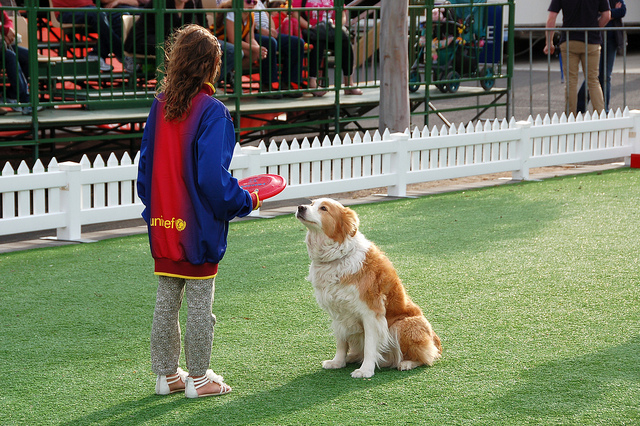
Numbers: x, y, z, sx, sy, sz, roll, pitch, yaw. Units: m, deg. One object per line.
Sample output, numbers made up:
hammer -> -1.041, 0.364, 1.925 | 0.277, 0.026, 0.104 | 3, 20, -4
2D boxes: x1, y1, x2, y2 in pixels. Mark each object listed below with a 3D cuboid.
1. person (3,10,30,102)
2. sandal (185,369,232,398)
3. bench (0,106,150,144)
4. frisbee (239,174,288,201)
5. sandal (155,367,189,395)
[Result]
person -> -3.990, -2.031, 15.204 | 0.307, 1.120, 0.790 | -7, 9, -13
sandal -> -1.029, 1.544, 10.464 | 0.484, 0.228, 0.186 | -5, 8, -31
bench -> -3.448, -1.241, 15.723 | 1.767, 0.418, 1.150 | -11, 17, -43
frisbee -> -0.494, -0.252, 10.521 | 0.290, 0.041, 0.281 | -32, 31, -34
sandal -> -1.340, 1.531, 10.523 | 0.334, 0.206, 0.195 | -5, 9, -2
